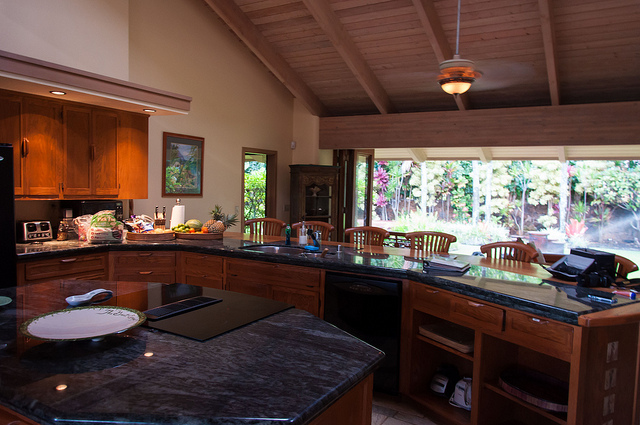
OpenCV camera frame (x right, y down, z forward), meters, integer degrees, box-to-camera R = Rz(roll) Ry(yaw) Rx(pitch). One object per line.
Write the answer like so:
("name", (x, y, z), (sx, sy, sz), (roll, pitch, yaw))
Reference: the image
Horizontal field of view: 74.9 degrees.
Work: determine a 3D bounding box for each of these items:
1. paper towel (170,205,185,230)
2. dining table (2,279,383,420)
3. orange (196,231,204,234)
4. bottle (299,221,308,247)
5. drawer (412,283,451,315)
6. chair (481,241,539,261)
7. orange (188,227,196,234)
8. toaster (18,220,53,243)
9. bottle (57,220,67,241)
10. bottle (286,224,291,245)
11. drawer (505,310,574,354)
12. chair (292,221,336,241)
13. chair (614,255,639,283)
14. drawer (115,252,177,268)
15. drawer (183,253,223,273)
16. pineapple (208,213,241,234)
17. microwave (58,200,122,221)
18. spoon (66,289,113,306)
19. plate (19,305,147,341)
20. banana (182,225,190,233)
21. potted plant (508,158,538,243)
("paper towel", (-1.690, 0.052, 4.969), (0.140, 0.286, 0.242), (-1, 3, -21))
("dining table", (-0.760, 0.695, 2.147), (2.069, 0.459, 1.027), (1, 2, 13))
("orange", (-1.361, 0.226, 4.772), (0.081, 0.022, 0.108), (-1, 2, -19))
("bottle", (-0.174, 0.223, 4.537), (0.090, 0.248, 0.236), (0, 2, -4))
("drawer", (0.904, 0.696, 3.369), (0.207, 0.117, 0.289), (6, 0, -35))
("chair", (1.924, 0.383, 4.146), (0.271, 0.290, 0.352), (0, 1, -44))
("orange", (-1.449, 0.203, 4.793), (0.068, 0.056, 0.056), (0, 45, 9))
("toaster", (-2.954, 0.196, 4.343), (0.288, 0.215, 0.132), (-1, 3, -31))
("bottle", (-2.815, 0.200, 4.575), (0.083, 0.196, 0.061), (0, 3, -6))
("bottle", (-0.328, 0.245, 4.361), (0.039, 0.183, 0.144), (0, 2, -8))
("drawer", (1.544, 0.798, 2.897), (0.489, 0.173, 0.340), (11, 3, 33))
("chair", (-0.026, 0.286, 5.129), (0.459, 0.390, 0.314), (0, -3, 25))
("chair", (2.565, 0.484, 3.498), (0.139, 0.224, 0.850), (2, 3, 36))
("drawer", (-1.845, 0.503, 4.431), (0.587, 0.158, 0.086), (0, 3, -1))
("drawer", (-1.177, 0.522, 4.324), (0.324, 0.084, 0.228), (3, 1, 29))
("pineapple", (-1.320, 0.137, 5.748), (0.352, 0.144, 0.154), (-22, -5, -10))
("microwave", (-2.684, -0.069, 4.950), (0.329, 0.290, 0.546), (0, 0, 31))
("spoon", (-1.332, 0.481, 2.416), (0.081, 0.035, 0.227), (4, 4, 25))
("plate", (-1.221, 0.568, 2.133), (0.318, 0.043, 0.285), (6, 7, 14))
("banana", (-1.531, 0.181, 4.793), (0.089, 0.079, 0.018), (0, 3, 8))
("potted plant", (6.835, -0.492, 14.162), (0.830, 2.477, 0.360), (2, 3, 29))
